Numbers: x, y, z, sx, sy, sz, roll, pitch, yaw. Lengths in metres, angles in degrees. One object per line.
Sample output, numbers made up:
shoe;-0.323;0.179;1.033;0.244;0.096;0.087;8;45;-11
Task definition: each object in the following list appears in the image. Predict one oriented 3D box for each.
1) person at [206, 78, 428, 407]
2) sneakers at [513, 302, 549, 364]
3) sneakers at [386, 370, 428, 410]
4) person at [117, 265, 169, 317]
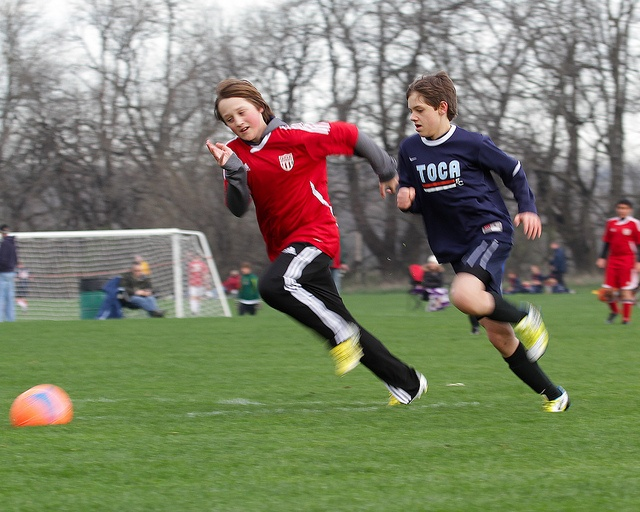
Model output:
person;-0.043;-0.054;4.919;1.210;1.526;0.428;-2;1;-8
sneakers;1.329;0.467;4.931;0.273;0.368;0.164;-12;22;1
sneakers;0.584;0.876;5.160;0.183;0.123;0.403;38;29;11
person;-2.646;0.531;11.919;0.529;0.673;0.606;-2;1;8
